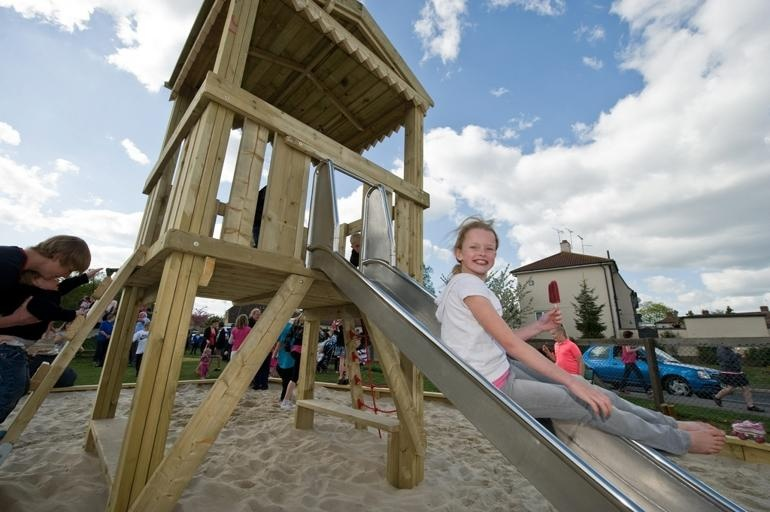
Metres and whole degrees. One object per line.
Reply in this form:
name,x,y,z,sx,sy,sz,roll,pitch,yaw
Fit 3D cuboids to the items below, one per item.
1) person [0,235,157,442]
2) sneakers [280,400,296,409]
person,-3.592,0.950,3.728,1.129,2.283,0.635,0,-10,14
sneakers,-2.196,3.360,7.110,0.142,0.166,0.342,-3,-11,32
